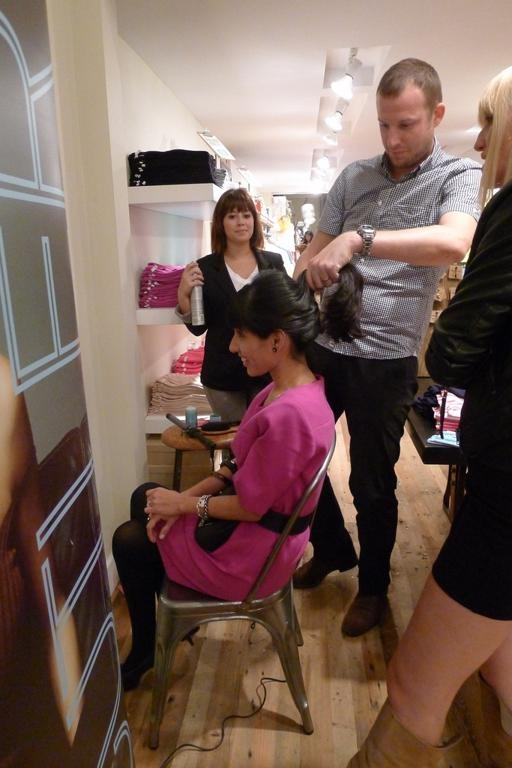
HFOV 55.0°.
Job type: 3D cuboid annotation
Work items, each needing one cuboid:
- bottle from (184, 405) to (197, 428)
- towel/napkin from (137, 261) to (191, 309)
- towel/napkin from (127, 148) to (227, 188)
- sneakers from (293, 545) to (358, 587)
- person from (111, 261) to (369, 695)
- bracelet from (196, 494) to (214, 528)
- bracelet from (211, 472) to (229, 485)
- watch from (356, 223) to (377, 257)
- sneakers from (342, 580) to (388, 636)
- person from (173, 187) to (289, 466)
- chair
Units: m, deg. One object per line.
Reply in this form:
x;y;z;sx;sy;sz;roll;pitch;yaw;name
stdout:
-0.277;0.146;2.139;0.068;0.140;0.073;0;-4;0;bottle
-0.430;-0.450;2.290;0.199;0.225;0.077;1;-7;-5;towel/napkin
-0.370;-0.965;2.217;0.401;0.166;0.126;-3;9;-15;towel/napkin
0.252;0.776;2.038;0.347;0.158;0.128;-19;46;26;sneakers
-0.072;0.332;1.366;0.668;1.286;0.363;3;9;22;person
-0.131;0.320;1.253;0.026;0.080;0.058;4;-3;6;bracelet
-0.100;0.273;1.438;0.041;0.048;0.032;-2;50;46;bracelet
0.268;-0.353;1.209;0.045;0.081;0.072;-1;47;3;watch
0.401;0.820;1.858;0.081;0.165;0.227;0;10;40;sneakers
-0.080;-0.161;2.430;0.532;1.544;0.424;-7;21;-14;person
-0.076;0.510;1.428;0.579;0.813;0.558;-9;18;-21;chair
